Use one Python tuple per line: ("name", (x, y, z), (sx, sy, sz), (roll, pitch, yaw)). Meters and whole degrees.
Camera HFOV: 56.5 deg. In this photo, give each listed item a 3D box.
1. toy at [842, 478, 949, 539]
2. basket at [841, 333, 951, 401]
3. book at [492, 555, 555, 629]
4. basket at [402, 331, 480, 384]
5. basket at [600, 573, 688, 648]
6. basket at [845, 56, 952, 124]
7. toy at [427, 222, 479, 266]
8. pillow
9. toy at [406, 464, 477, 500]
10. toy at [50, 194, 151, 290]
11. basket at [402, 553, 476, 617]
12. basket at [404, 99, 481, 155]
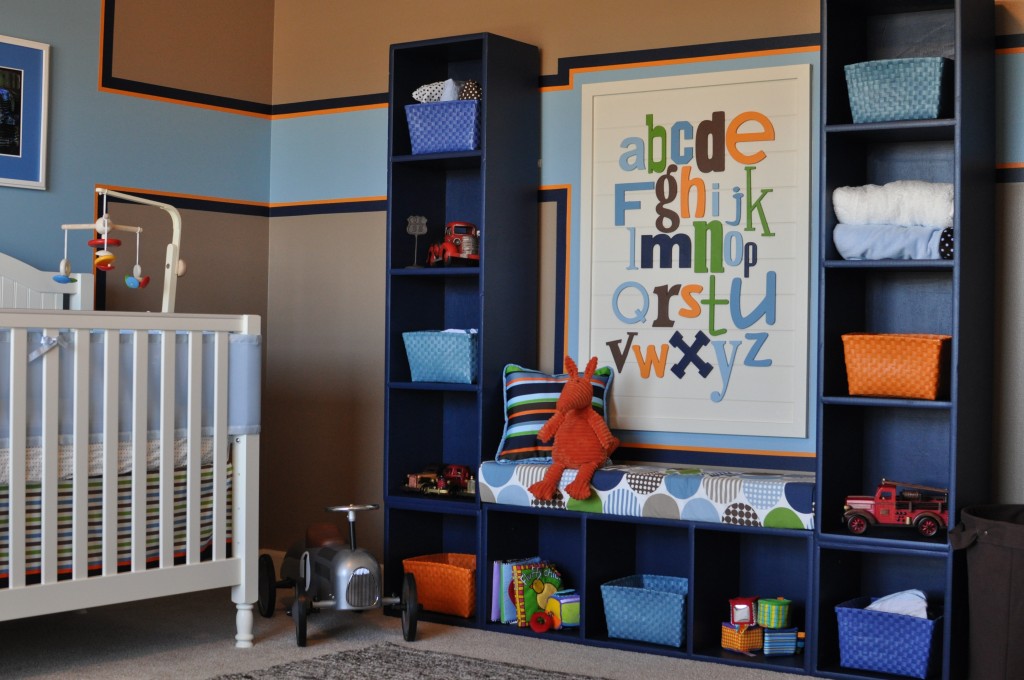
("toy", (1.568, 0.681, 3.916), (0.373, 0.204, 0.208), (1, -2, 17))
("basket", (1.570, 0.085, 3.927), (0.390, 0.257, 0.220), (1, 9, 27))
("book", (0.045, 1.150, 4.353), (0.287, 0.287, 0.076), (5, -1, -28))
("basket", (-0.320, 0.087, 4.710), (0.370, 0.232, 0.267), (0, -4, 22))
("basket", (0.587, 1.201, 4.254), (0.347, 0.191, 0.248), (-1, -4, 26))
("basket", (1.618, -1.048, 3.919), (0.393, 0.243, 0.240), (7, 27, 42))
("toy", (-0.267, -0.494, 4.822), (0.248, 0.215, 0.417), (-4, 10, -20))
("pillow", (0.178, 0.382, 4.600), (0.560, 0.521, 0.205), (3, 21, -30))
("toy", (-0.349, 0.689, 4.686), (0.230, 0.114, 0.171), (1, -4, 18))
("toy", (-1.921, -0.494, 4.482), (0.408, 0.438, 0.411), (5, 17, -14))
("basket", (-0.263, 1.190, 4.710), (0.435, 0.238, 0.443), (-1, -1, 21))
("basket", (-0.343, -1.020, 4.620), (0.329, 0.204, 0.236), (1, 4, 27))
